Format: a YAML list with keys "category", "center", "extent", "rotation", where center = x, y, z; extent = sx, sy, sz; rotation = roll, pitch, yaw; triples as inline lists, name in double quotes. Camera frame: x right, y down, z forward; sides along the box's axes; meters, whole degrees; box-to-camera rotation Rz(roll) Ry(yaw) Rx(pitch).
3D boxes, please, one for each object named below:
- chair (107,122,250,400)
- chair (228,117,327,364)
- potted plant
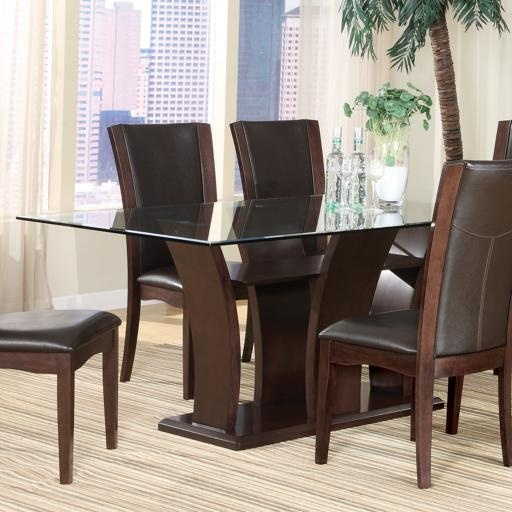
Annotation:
- category: "chair"
  center: [-0.346, -0.034, 2.421]
  extent: [0.626, 1.270, 0.626]
  rotation: [0, -10, -41]
- category: "chair"
  center: [0.132, -0.122, 2.495]
  extent: [0.445, 1.185, 0.597]
  rotation: [-5, -4, 2]
- category: "potted plant"
  center: [0.539, -0.422, 2.284]
  extent: [0.270, 0.481, 0.323]
  rotation: [3, 25, 17]
